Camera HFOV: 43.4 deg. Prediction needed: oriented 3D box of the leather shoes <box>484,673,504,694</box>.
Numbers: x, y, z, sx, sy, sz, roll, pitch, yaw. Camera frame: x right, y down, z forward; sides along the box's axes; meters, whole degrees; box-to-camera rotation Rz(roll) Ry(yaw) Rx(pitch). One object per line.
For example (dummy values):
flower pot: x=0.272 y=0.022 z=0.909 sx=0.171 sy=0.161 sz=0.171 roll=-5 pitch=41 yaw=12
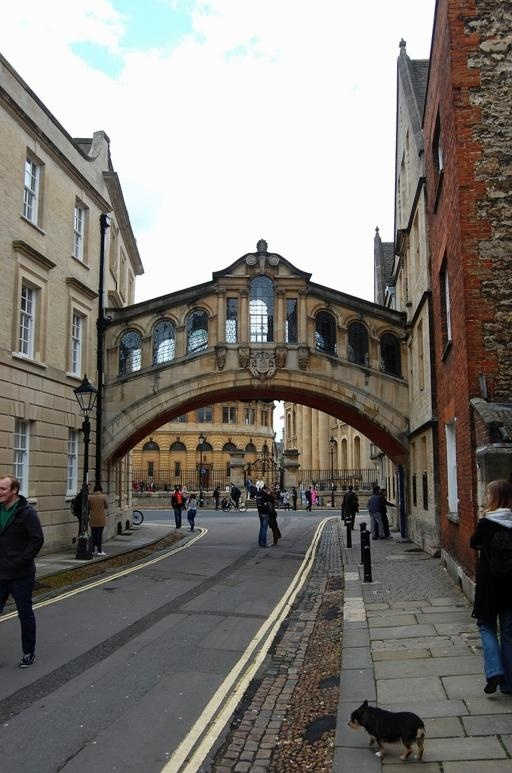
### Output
leather shoes: x=1.677 y=2.084 z=4.515 sx=0.086 sy=0.115 sz=0.265 roll=-1 pitch=-41 yaw=-1

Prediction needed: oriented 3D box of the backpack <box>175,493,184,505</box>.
backpack: x=-2.710 y=4.023 z=22.964 sx=0.323 sy=0.539 sz=0.276 roll=2 pitch=-19 yaw=-11

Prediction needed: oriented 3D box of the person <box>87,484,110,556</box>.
person: x=-3.716 y=3.140 z=15.148 sx=0.400 sy=1.595 sz=1.620 roll=1 pitch=-8 yaw=-14

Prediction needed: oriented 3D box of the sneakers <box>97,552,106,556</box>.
sneakers: x=-3.550 y=3.877 z=14.871 sx=0.202 sy=0.108 sz=0.078 roll=2 pitch=-5 yaw=-14

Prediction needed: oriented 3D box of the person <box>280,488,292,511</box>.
person: x=1.895 y=7.066 z=39.909 sx=1.134 sy=0.740 sz=1.953 roll=-3 pitch=14 yaw=3

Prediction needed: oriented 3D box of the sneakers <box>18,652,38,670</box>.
sneakers: x=-2.104 y=2.516 z=5.904 sx=0.063 sy=0.087 sz=0.203 roll=-1 pitch=-17 yaw=-3

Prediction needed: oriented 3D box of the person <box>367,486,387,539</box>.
person: x=3.682 y=3.799 z=19.349 sx=0.442 sy=1.558 sz=2.227 roll=-3 pitch=-8 yaw=10

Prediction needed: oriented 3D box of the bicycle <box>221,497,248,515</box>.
bicycle: x=-1.167 y=7.061 z=37.861 sx=1.566 sy=1.134 sz=0.840 roll=2 pitch=-4 yaw=-10

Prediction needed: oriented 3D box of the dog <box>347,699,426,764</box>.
dog: x=0.685 y=1.895 z=3.548 sx=0.205 sy=0.390 sz=0.542 roll=15 pitch=-23 yaw=-43
